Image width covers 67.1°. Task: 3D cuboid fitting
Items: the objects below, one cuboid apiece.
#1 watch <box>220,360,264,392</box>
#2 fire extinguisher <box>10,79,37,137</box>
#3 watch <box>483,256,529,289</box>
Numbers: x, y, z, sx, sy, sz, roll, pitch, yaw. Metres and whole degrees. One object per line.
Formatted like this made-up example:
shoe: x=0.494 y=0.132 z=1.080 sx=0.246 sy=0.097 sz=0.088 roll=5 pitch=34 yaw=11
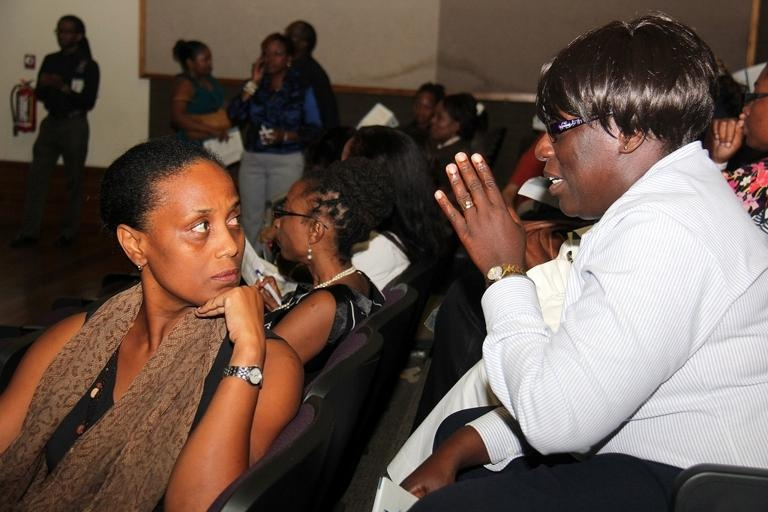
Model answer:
watch: x=-0.367 y=0.295 z=1.506 sx=0.082 sy=0.059 sz=0.093 roll=1 pitch=2 yaw=36
fire extinguisher: x=-1.891 y=-0.772 z=3.029 sx=0.153 sy=0.279 sz=0.043 roll=2 pitch=13 yaw=8
watch: x=0.311 y=0.046 z=1.511 sx=0.096 sy=0.060 sz=0.093 roll=-18 pitch=-15 yaw=24
